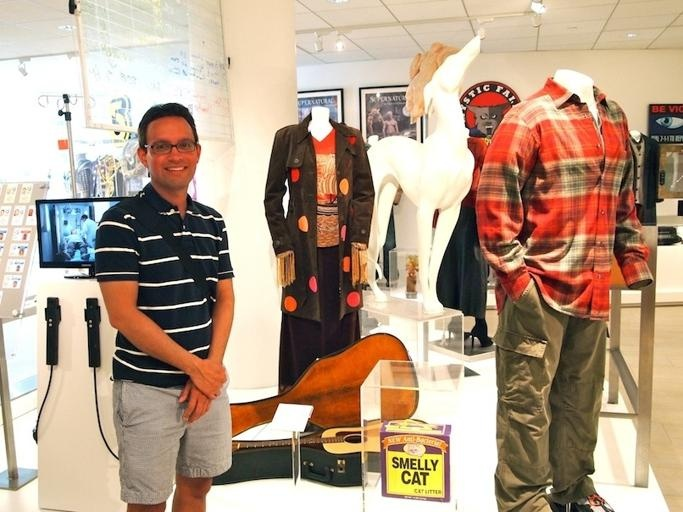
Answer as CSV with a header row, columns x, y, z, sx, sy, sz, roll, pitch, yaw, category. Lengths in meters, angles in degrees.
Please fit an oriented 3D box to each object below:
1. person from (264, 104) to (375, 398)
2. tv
x,y,z,sx,sy,sz,roll,pitch,yaw,category
-0.148,-0.029,3.914,0.751,1.934,0.217,-2,5,2,person
-1.312,-0.106,2.918,0.435,0.390,0.092,0,1,5,tv
